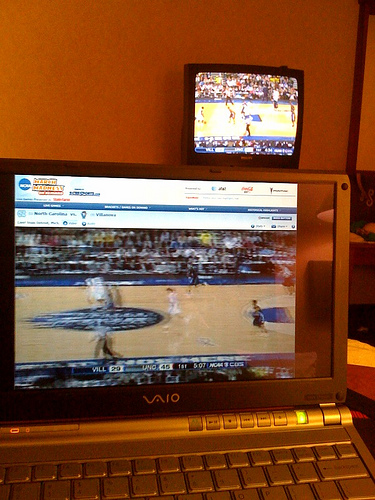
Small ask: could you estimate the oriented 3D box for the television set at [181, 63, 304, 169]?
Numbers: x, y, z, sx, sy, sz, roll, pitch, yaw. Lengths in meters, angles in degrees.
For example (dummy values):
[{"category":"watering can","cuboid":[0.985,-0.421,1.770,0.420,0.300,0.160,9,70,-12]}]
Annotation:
[{"category":"television set","cuboid":[0.230,-0.459,1.468,0.399,0.317,0.215,9,23,25]}]
